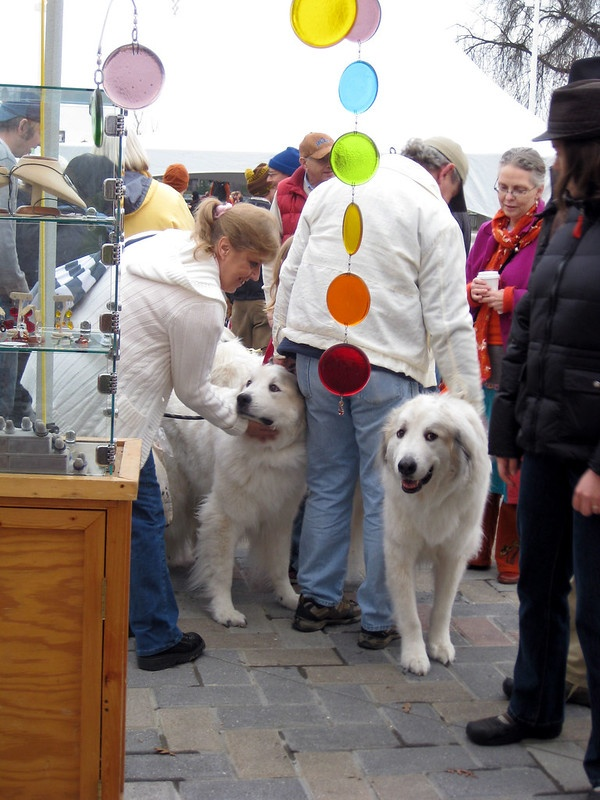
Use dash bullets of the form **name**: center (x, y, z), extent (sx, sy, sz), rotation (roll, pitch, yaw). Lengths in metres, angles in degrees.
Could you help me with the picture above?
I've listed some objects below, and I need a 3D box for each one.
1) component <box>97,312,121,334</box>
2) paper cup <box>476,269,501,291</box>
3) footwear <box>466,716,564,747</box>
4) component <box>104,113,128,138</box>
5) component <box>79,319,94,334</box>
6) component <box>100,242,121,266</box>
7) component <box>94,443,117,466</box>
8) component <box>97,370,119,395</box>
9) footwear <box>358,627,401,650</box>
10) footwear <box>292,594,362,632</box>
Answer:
- **component**: center (-0.519, -0.204, 2.188), extent (0.065, 0.059, 0.046), rotation (5, 6, 8)
- **paper cup**: center (0.977, -0.623, 4.249), extent (0.131, 0.102, 0.117), rotation (-2, 7, 1)
- **footwear**: center (0.714, 1.118, 2.766), extent (0.341, 0.097, 0.109), rotation (2, 0, -7)
- **component**: center (-0.482, -0.712, 2.112), extent (0.048, 0.054, 0.050), rotation (3, 6, -8)
- **component**: center (-0.587, -0.198, 2.226), extent (0.030, 0.039, 0.031), rotation (3, 6, -15)
- **component**: center (-0.503, -0.388, 2.158), extent (0.047, 0.060, 0.065), rotation (3, 6, -15)
- **component**: center (-0.514, 0.154, 2.148), extent (0.051, 0.061, 0.042), rotation (0, 7, -33)
- **component**: center (-0.515, -0.040, 2.195), extent (0.066, 0.065, 0.053), rotation (2, 8, -8)
- **footwear**: center (0.356, 1.050, 3.604), extent (0.197, 0.071, 0.070), rotation (-7, 11, -38)
- **footwear**: center (0.124, 0.988, 3.840), extent (0.384, 0.142, 0.128), rotation (-3, 11, -35)
